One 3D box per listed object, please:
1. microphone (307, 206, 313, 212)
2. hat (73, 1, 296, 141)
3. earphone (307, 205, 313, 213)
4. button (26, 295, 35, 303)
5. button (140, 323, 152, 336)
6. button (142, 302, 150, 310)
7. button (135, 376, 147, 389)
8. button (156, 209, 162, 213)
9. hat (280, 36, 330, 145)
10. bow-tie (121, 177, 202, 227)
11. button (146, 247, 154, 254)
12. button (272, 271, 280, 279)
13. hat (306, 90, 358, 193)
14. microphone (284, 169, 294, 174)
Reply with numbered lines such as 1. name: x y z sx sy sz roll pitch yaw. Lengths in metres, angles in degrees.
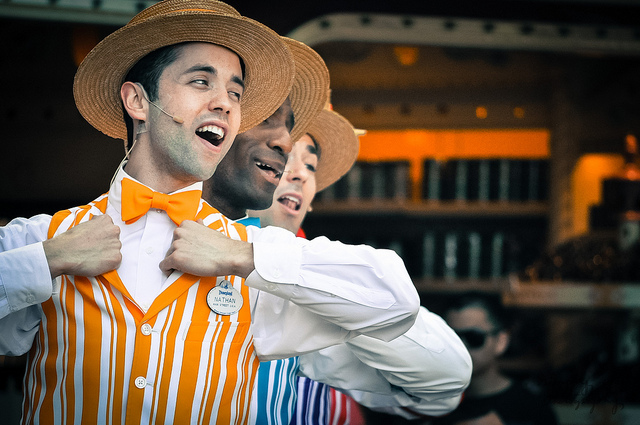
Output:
1. microphone: -0.053 -0.020 6.199 0.033 0.030 0.007 4 10 3
2. hat: -0.549 -0.687 5.559 0.776 0.195 0.747 5 -34 -29
3. earphone: -0.051 -0.016 6.085 0.025 0.023 0.006 4 6 29
4. button: -1.241 0.362 5.286 0.034 0.031 0.018 2 -7 -13
5. button: -0.745 0.492 5.301 0.045 0.052 0.009 3 -7 -19
6. button: -0.752 0.396 5.319 0.031 0.028 0.007 5 -9 -2
7. button: -0.771 0.713 5.283 0.054 0.050 0.012 1 -4 -9
8. button: -0.705 -0.007 5.417 0.029 0.026 0.010 1 10 4
9. hat: -0.056 -0.610 5.986 0.259 0.528 0.195 -10 33 -7
10. bow-tie: -0.705 -0.026 5.416 0.366 0.188 0.071 9 4 -11
11. button: -0.743 0.161 5.371 0.031 0.028 0.007 1 -5 -10
12. button: -0.190 0.262 5.305 0.031 0.029 0.007 10 -7 3
13. hat: 0.061 -0.327 6.084 0.398 0.410 0.110 26 15 -49
14. microphone: -0.147 -0.195 5.964 0.042 0.022 0.010 1 -7 -2
